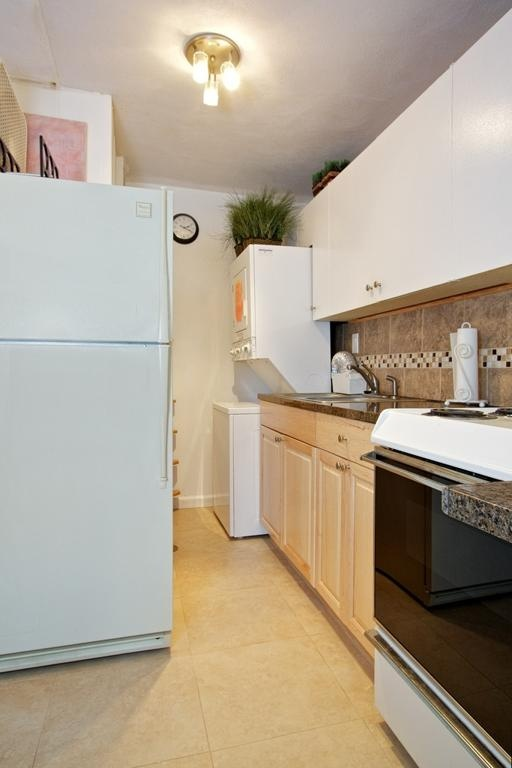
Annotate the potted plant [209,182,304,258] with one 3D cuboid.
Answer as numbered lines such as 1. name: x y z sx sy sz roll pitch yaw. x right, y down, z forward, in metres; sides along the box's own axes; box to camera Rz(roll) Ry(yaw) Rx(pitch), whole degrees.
1. potted plant: 0.037 -0.883 3.369 0.434 0.501 0.594 -3 11 -13

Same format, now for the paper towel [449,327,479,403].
1. paper towel: 0.733 -0.080 1.872 0.095 0.279 0.259 0 2 22

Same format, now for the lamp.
1. lamp: -0.172 -1.217 2.103 0.173 0.187 0.177 -2 5 -23

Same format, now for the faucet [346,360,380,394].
1. faucet: 0.532 -0.027 2.655 0.149 0.165 0.147 -2 3 -31
